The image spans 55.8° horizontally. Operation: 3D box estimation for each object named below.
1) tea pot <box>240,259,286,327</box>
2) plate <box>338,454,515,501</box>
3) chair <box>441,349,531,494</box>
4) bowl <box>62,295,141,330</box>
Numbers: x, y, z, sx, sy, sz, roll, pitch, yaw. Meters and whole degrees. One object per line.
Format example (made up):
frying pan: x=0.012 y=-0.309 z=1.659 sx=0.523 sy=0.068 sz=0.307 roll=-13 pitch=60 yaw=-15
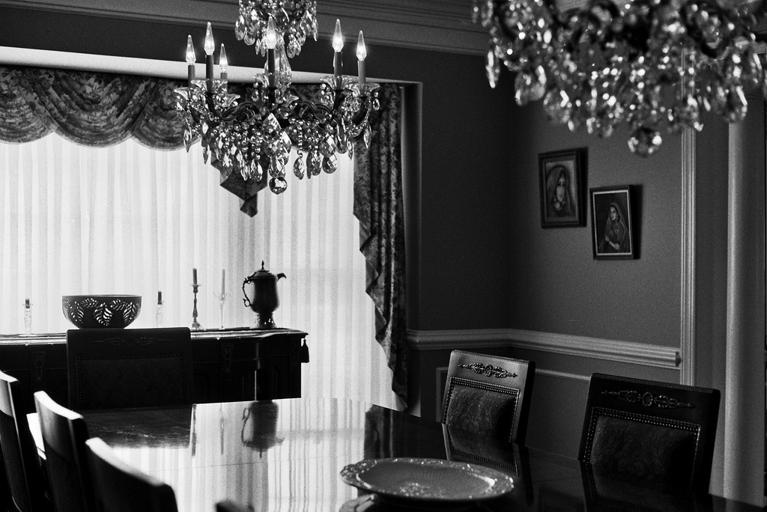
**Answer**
tea pot: x=-0.854 y=0.286 z=5.151 sx=0.311 sy=0.437 sz=0.226 roll=-3 pitch=7 yaw=-11
plate: x=0.137 y=0.766 z=2.473 sx=0.592 sy=0.054 sz=0.384 roll=4 pitch=4 yaw=17
chair: x=0.422 y=0.660 z=3.219 sx=0.386 sy=0.743 sz=0.401 roll=17 pitch=-16 yaw=-42
bowl: x=-1.828 y=0.389 z=4.627 sx=0.443 sy=0.223 sz=0.468 roll=5 pitch=7 yaw=-1
